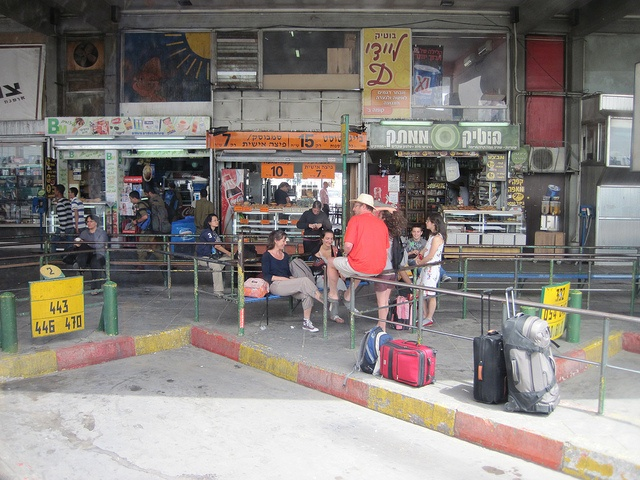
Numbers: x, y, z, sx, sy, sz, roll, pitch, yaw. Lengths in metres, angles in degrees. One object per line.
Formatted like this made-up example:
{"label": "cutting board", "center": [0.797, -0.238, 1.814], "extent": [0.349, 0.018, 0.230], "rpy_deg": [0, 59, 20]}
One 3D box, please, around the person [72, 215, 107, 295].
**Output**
{"label": "person", "center": [-4.644, 0.290, 12.364], "extent": [0.632, 1.550, 2.985], "rpy_deg": [-1, 6, -22]}

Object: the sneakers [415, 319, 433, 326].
{"label": "sneakers", "center": [1.793, 1.382, 10.278], "extent": [0.244, 0.102, 0.120], "rpy_deg": [-2, -1, -24]}

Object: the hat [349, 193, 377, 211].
{"label": "hat", "center": [0.749, -0.635, 9.658], "extent": [0.310, 0.127, 0.279], "rpy_deg": [20, -5, -38]}

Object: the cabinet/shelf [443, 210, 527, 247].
{"label": "cabinet/shelf", "center": [4.496, -0.231, 16.894], "extent": [2.172, 1.144, 0.877], "rpy_deg": [1, 5, 11]}

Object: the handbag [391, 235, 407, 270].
{"label": "handbag", "center": [1.318, 0.184, 10.294], "extent": [0.197, 0.515, 0.496], "rpy_deg": [1, 5, 9]}

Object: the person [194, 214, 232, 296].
{"label": "person", "center": [-2.150, 0.290, 12.185], "extent": [0.663, 1.556, 3.196], "rpy_deg": [0, 5, -11]}

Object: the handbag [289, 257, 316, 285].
{"label": "handbag", "center": [-0.321, 0.516, 10.532], "extent": [0.336, 0.171, 0.477], "rpy_deg": [-2, 52, -42]}

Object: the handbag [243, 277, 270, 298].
{"label": "handbag", "center": [-1.073, 0.797, 10.032], "extent": [0.354, 0.266, 0.281], "rpy_deg": [0, -2, 6]}

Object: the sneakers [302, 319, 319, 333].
{"label": "sneakers", "center": [-0.154, 1.396, 10.049], "extent": [0.269, 0.189, 0.330], "rpy_deg": [0, 5, -2]}

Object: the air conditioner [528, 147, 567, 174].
{"label": "air conditioner", "center": [6.828, -2.433, 18.221], "extent": [1.185, 0.725, 0.290], "rpy_deg": [-1, 5, -16]}

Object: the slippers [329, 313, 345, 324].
{"label": "slippers", "center": [0.280, 1.359, 10.563], "extent": [0.108, 0.114, 0.259], "rpy_deg": [-5, 6, -44]}

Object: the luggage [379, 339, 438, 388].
{"label": "luggage", "center": [1.181, 1.631, 8.198], "extent": [0.811, 0.615, 0.484], "rpy_deg": [4, -4, 23]}
